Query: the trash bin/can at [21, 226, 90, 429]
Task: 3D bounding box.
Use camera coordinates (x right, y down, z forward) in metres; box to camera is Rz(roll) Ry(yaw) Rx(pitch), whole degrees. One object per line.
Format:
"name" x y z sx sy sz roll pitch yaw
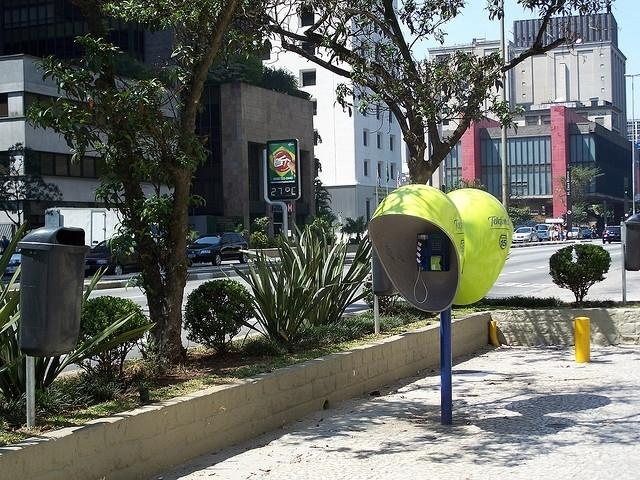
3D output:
"trash bin/can" -2.435 0.759 7.451 0.589 1.725 0.546 2 8 -23

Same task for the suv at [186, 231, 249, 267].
"suv" -4.281 0.437 34.272 1.198 1.182 2.917 -3 -5 23

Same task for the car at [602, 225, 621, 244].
"car" 23.173 -0.319 65.782 1.271 1.566 2.274 8 8 19
